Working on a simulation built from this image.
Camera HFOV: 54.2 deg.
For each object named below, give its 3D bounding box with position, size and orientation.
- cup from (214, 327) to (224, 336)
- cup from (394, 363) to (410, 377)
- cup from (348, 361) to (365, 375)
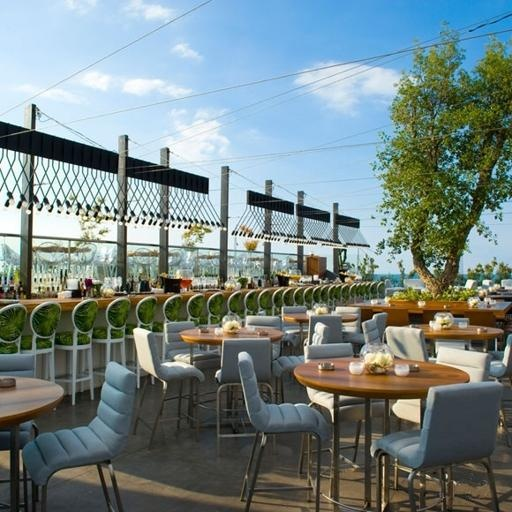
[{"bbox_3d":[-0.328,0.667,4.445,0.050,0.056,0.055,-1,1,-10],"label":"cup"},{"bbox_3d":[0.837,0.645,2.850,0.059,0.050,0.063,-2,3,0],"label":"cup"},{"bbox_3d":[0.587,0.649,2.918,0.065,0.054,0.070,-1,-2,0],"label":"cup"}]
